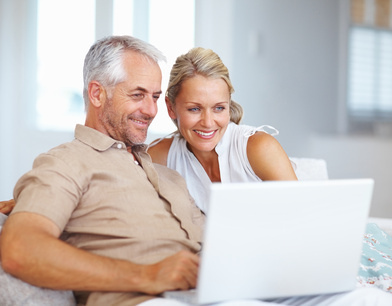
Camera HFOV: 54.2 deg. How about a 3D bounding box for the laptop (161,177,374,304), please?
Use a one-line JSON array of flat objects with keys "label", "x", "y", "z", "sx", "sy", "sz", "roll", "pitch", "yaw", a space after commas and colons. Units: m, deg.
[{"label": "laptop", "x": 0.215, "y": 0.223, "z": 1.039, "sx": 0.482, "sy": 0.287, "sz": 0.356, "roll": 1, "pitch": 1, "yaw": -25}]
